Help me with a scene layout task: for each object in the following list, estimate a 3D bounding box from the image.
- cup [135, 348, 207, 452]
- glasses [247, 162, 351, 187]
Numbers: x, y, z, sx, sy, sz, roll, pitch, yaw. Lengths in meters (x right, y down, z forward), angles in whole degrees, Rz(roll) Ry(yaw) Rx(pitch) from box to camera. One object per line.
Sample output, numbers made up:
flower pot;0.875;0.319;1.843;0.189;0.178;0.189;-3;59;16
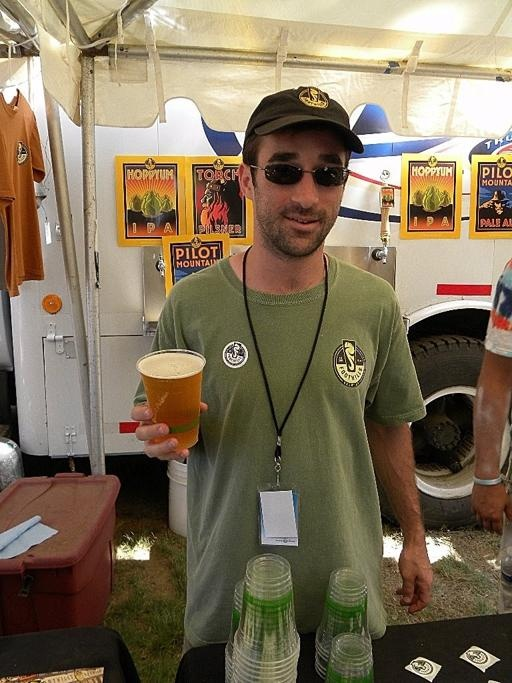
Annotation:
cup;-0.208;0.148;1.325;0.156;0.228;0.219;-1;11;-8
glasses;0.112;-0.436;1.432;0.268;0.065;0.128;1;11;1
